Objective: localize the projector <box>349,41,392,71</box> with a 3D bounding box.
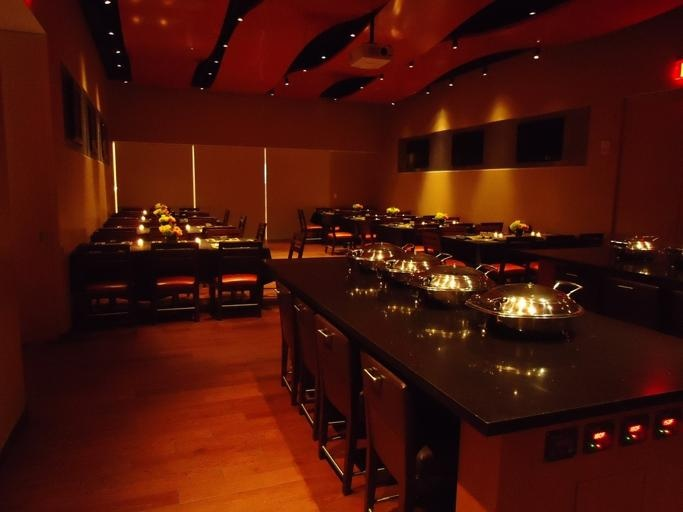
[{"bbox_3d":[0.381,-2.721,6.931,0.461,0.301,0.458,-4,15,-16],"label":"projector"}]
